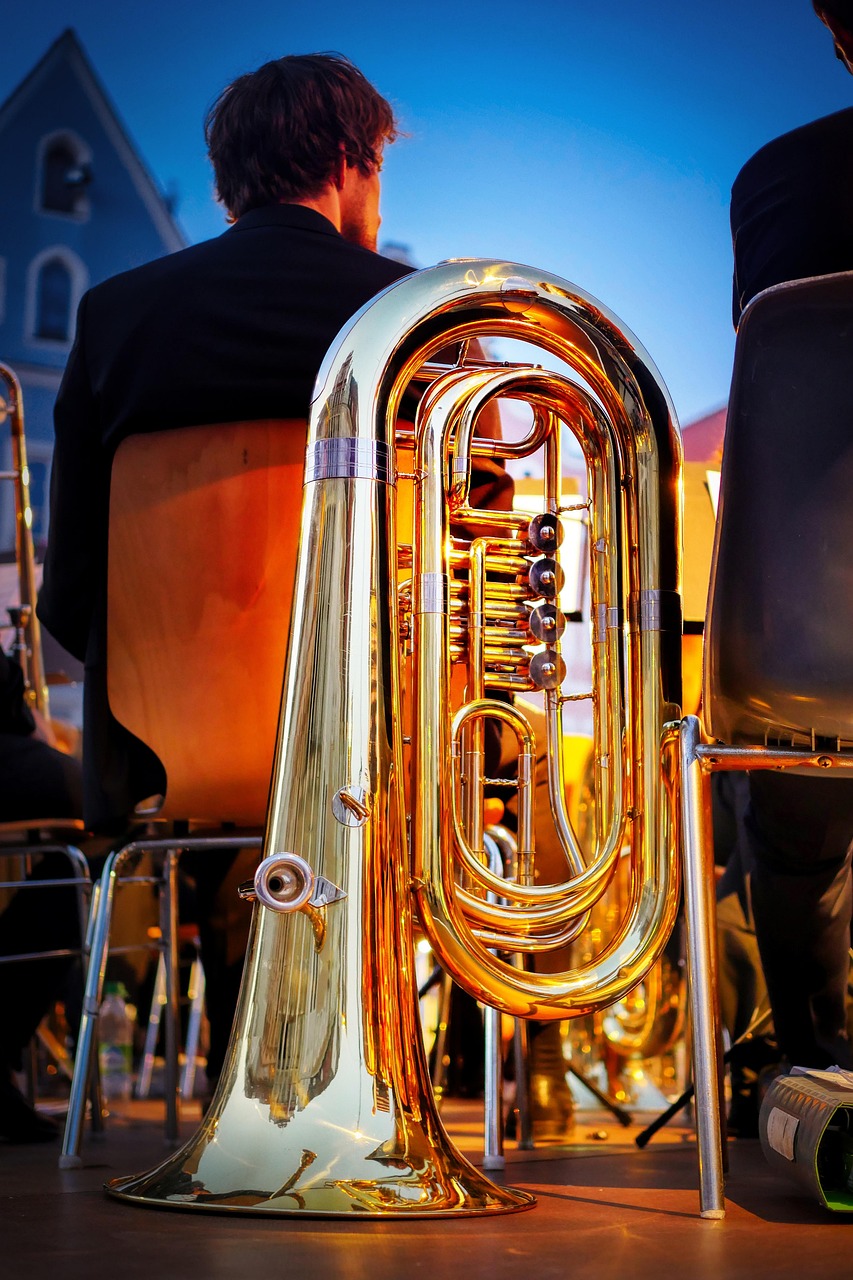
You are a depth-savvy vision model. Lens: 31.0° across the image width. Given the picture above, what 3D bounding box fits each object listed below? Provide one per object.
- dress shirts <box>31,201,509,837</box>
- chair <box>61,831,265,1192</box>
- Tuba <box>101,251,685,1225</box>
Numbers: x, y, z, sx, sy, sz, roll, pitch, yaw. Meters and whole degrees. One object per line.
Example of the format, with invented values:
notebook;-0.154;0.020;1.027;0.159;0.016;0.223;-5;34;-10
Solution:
dress shirts;-0.241;-0.118;2.263;0.641;0.890;0.491;-1;6;-16
chair;-0.385;0.449;2.072;0.261;0.398;0.255;6;-5;-37
Tuba;-0.052;0.095;1.818;0.563;1.026;0.560;-1;-16;-8
